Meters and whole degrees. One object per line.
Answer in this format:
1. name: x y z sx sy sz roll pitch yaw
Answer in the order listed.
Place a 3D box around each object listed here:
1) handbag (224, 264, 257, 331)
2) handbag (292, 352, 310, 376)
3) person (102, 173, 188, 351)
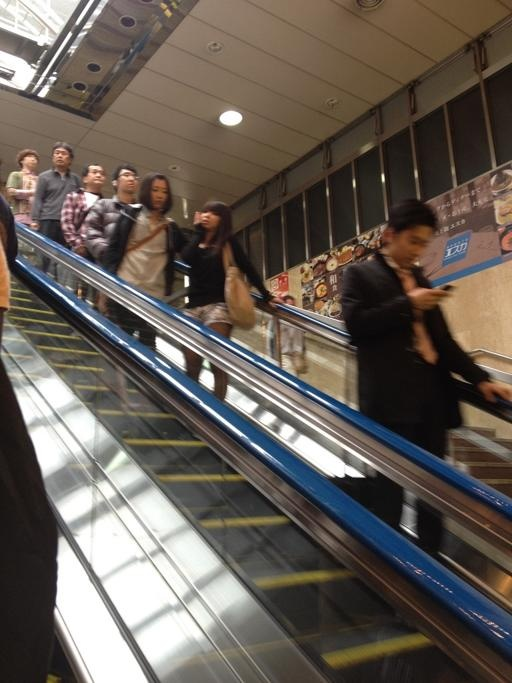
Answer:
1. handbag: -0.114 -0.286 2.934 0.157 0.399 0.123 -9 -3 -6
2. handbag: 0.301 0.162 3.347 0.101 0.129 0.208 -1 8 2
3. person: -0.790 -0.742 3.362 0.578 0.908 0.466 -3 8 -13
